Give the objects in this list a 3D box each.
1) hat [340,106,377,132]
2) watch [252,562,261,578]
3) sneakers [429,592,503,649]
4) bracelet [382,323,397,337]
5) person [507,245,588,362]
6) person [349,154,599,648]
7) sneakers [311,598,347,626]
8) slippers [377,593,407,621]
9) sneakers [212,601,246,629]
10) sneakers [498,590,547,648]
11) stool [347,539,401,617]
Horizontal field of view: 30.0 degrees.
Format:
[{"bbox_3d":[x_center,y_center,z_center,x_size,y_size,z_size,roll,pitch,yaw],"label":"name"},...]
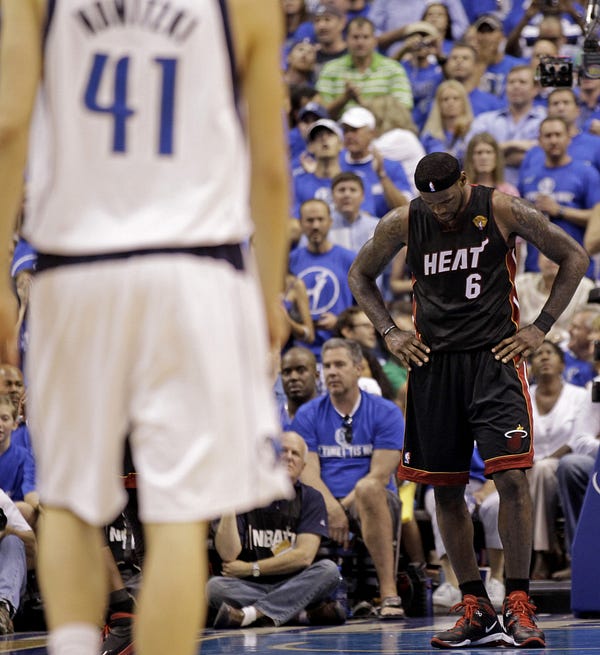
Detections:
[{"bbox_3d":[0.530,-1.909,10.111,0.310,0.309,0.427,-1,-4,2],"label":"hat"},{"bbox_3d":[-0.225,1.268,5.930,0.042,0.073,0.060,1,-14,2],"label":"watch"},{"bbox_3d":[0.680,1.243,4.813,0.395,0.262,0.152,3,-6,-36],"label":"sneakers"},{"bbox_3d":[0.420,0.004,5.083,0.061,0.039,0.047,-24,0,-12],"label":"bracelet"},{"bbox_3d":[2.042,-0.200,9.119,0.751,1.158,0.450,2,-28,14],"label":"person"},{"bbox_3d":[0.758,0.294,4.882,1.003,2.105,0.550,-1,-4,13],"label":"person"},{"bbox_3d":[0.161,1.472,5.910,0.163,0.184,0.108,-6,-3,-12],"label":"sneakers"},{"bbox_3d":[0.507,1.485,5.991,0.098,0.113,0.269,-1,-16,-1],"label":"slippers"},{"bbox_3d":[-0.356,1.447,5.701,0.146,0.126,0.187,0,-4,-5],"label":"sneakers"},{"bbox_3d":[0.944,1.207,4.680,0.163,0.234,0.345,-1,-4,8],"label":"sneakers"},{"bbox_3d":[0.470,1.411,6.194,0.355,0.471,0.319,0,0,-5],"label":"stool"}]
